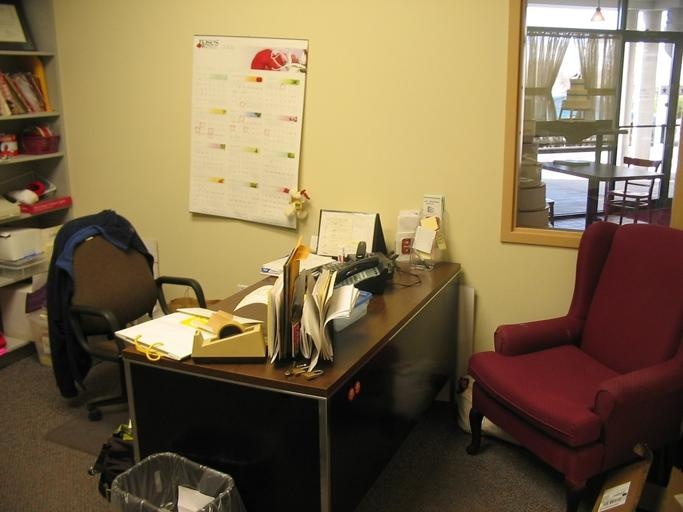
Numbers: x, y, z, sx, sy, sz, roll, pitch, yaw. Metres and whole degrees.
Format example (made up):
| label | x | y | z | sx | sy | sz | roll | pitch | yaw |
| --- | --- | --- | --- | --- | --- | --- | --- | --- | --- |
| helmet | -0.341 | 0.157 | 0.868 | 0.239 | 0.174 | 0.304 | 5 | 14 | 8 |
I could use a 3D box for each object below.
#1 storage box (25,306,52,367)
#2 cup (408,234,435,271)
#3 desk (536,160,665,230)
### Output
| label | x | y | z | sx | sy | sz | roll | pitch | yaw |
| --- | --- | --- | --- | --- | --- | --- | --- | --- | --- |
| storage box | -2.153 | 0.582 | 3.828 | 0.323 | 0.454 | 0.097 | 16 | 22 | 41 |
| cup | 0.476 | -0.031 | 3.246 | 0.156 | 0.203 | 0.172 | -1 | 17 | 0 |
| desk | 1.535 | -0.454 | 3.126 | 0.407 | 0.428 | 0.417 | -11 | 23 | -26 |
